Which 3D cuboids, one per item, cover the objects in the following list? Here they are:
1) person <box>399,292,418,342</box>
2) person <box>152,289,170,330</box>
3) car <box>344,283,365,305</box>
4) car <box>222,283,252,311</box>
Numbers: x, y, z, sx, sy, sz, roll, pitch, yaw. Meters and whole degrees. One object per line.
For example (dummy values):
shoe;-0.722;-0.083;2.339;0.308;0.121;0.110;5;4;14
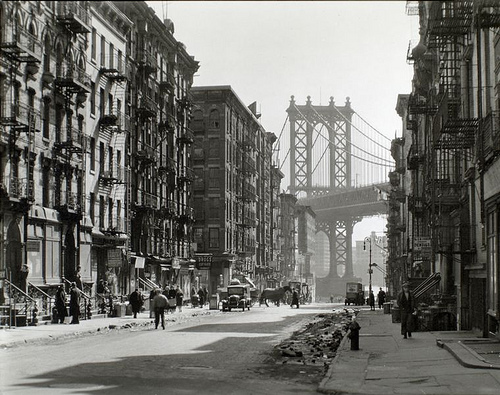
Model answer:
person;6.171;4.631;40.576;0.700;1.882;1.145;6;1;10
person;-4.214;5.334;48.132;0.667;1.632;2.020;6;1;-4
car;9.672;8.903;95.933;1.267;1.554;2.414;-1;-14;6
car;-0.911;7.048;72.236;1.115;1.248;2.252;-1;-14;4
